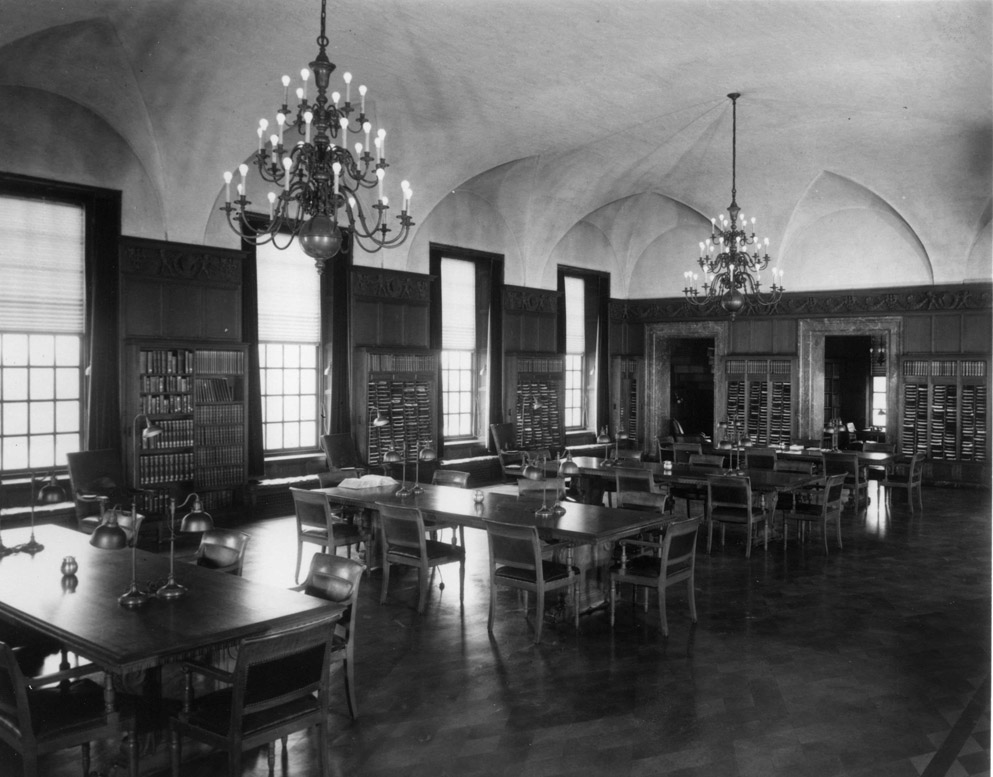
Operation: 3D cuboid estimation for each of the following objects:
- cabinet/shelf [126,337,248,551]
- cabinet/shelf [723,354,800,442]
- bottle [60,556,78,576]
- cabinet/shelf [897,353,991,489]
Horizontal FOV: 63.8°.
[{"bbox_3d":[-4.319,0.648,11.276,1.524,2.712,0.654,-3,12,-32],"label":"cabinet/shelf"},{"bbox_3d":[5.879,0.424,17.781,1.424,2.505,0.530,-3,-33,23],"label":"cabinet/shelf"},{"bbox_3d":[-3.172,1.324,5.933,0.103,0.186,0.230,-4,8,-32],"label":"bottle"},{"bbox_3d":[8.735,0.620,15.528,1.529,2.422,0.542,4,8,28],"label":"cabinet/shelf"}]
